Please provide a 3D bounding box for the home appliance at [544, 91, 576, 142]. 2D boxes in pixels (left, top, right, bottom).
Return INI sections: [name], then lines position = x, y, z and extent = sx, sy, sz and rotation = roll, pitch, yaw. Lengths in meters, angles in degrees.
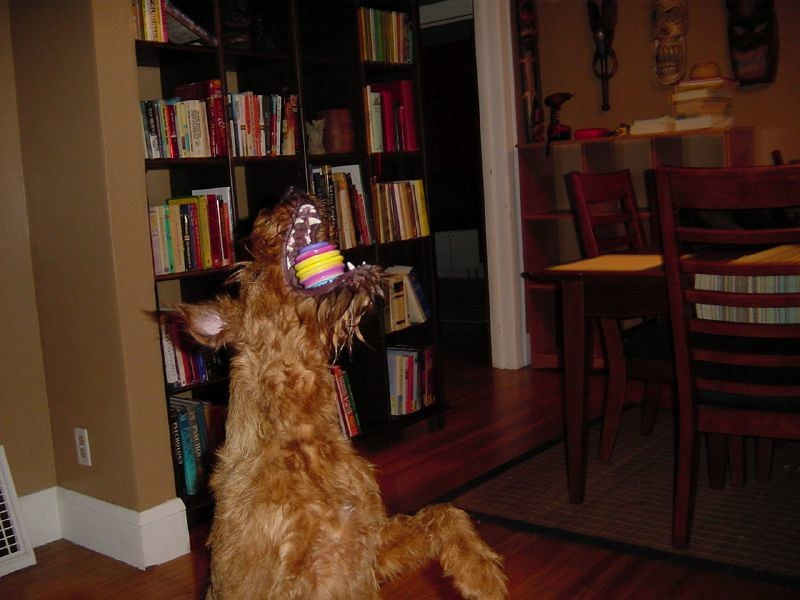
[home appliance]
position = 1.011, -1.121, 4.339
extent = 0.178, 0.358, 0.117
rotation = -2, -6, 9
